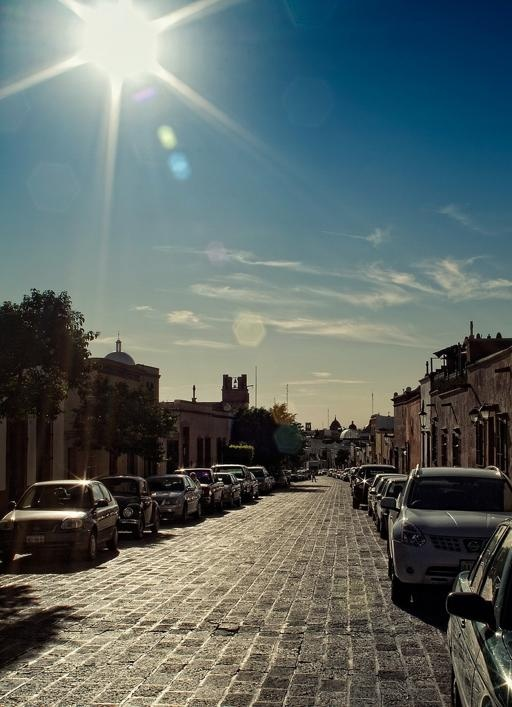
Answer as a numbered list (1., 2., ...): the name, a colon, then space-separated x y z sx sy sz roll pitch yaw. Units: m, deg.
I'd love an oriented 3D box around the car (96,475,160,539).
1. car: -3.363 4.044 18.050 1.066 1.015 2.072 -1 -16 3
